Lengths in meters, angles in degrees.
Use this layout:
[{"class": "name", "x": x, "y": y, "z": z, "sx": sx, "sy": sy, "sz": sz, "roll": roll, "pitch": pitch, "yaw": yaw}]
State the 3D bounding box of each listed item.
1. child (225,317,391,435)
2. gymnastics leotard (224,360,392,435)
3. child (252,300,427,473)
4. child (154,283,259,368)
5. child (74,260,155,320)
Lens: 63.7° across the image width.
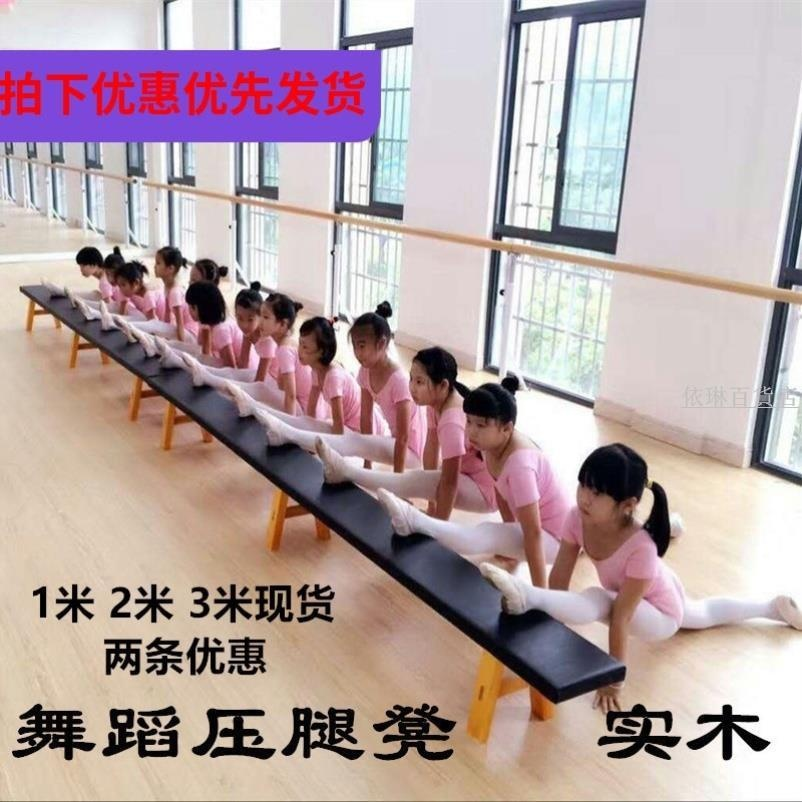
[{"class": "child", "x": -0.307, "y": -0.118, "z": 2.632, "sx": 0.755, "sy": 0.563, "sz": 0.345, "roll": 0, "pitch": 12, "yaw": -38}, {"class": "gymnastics leotard", "x": -0.367, "y": -0.004, "z": 2.574, "sx": 0.630, "sy": 0.397, "sz": 0.295, "roll": -1, "pitch": 13, "yaw": -11}, {"class": "child", "x": -0.339, "y": -0.071, "z": 2.489, "sx": 0.647, "sy": 0.484, "sz": 0.273, "roll": 7, "pitch": -1, "yaw": -29}, {"class": "child", "x": -1.038, "y": -0.388, "z": 3.301, "sx": 0.576, "sy": 0.491, "sz": 0.234, "roll": 3, "pitch": 30, "yaw": -9}, {"class": "child", "x": -1.725, "y": -0.711, "z": 4.032, "sx": 0.455, "sy": 0.420, "sz": 0.336, "roll": -15, "pitch": 62, "yaw": -27}]
